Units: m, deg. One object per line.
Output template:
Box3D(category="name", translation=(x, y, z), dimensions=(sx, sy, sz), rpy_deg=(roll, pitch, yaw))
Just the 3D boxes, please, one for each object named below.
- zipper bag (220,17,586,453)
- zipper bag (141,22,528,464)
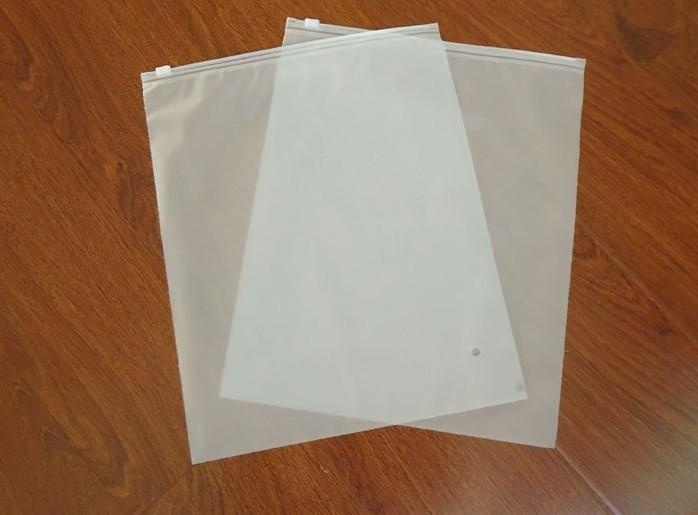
Box3D(category="zipper bag", translation=(0.064, -0.009, 0.850), dimensions=(0.423, 0.616, 0.057), rpy_deg=(4, -3, 5))
Box3D(category="zipper bag", translation=(0.032, -0.030, 0.884), dimensions=(0.449, 0.590, 0.071), rpy_deg=(-2, 31, 21))
